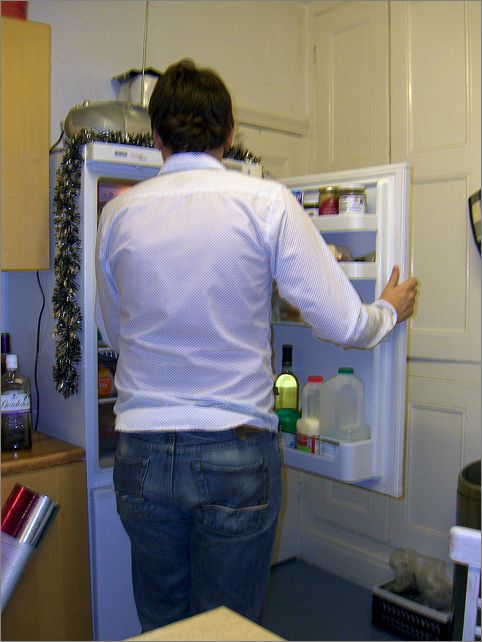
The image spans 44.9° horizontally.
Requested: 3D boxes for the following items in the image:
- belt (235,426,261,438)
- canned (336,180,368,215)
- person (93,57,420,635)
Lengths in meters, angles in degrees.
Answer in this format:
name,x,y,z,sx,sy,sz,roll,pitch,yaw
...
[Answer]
name,x,y,z,sx,sy,sz,roll,pitch,yaw
belt,0.012,0.172,0.920,0.056,0.019,0.004,-6,7,-38
canned,0.264,-0.290,1.378,0.065,0.073,0.066,-1,1,-12
person,-0.003,0.052,1.021,0.526,1.011,0.284,-2,5,-5
